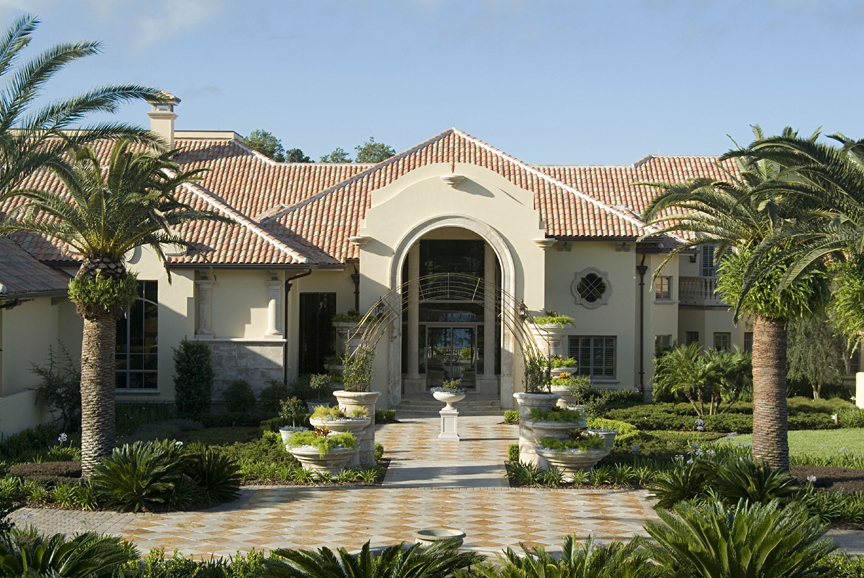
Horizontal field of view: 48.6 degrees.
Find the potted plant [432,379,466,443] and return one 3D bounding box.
[{"bbox_3d":[0.499,3.917,29.997,1.458,1.703,1.375,-1,-6,-2],"label":"potted plant"}]
